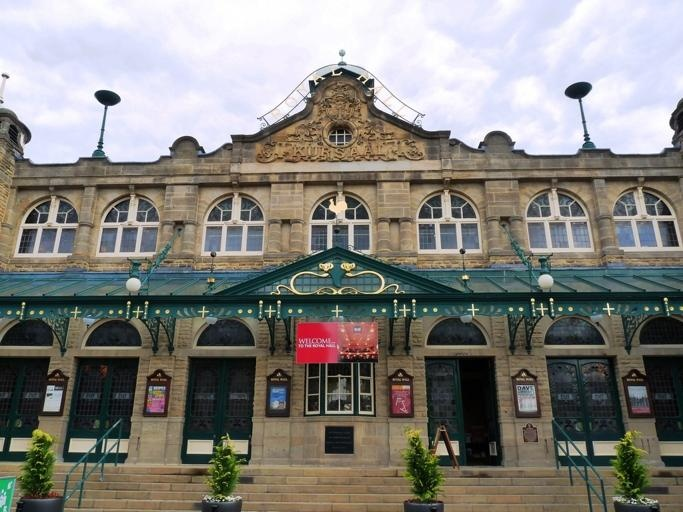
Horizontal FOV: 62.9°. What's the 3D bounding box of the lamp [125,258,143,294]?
[{"bbox_3d":[-6.992,0.587,18.946,0.452,1.537,2.221,6,-18,-20],"label":"lamp"}]
